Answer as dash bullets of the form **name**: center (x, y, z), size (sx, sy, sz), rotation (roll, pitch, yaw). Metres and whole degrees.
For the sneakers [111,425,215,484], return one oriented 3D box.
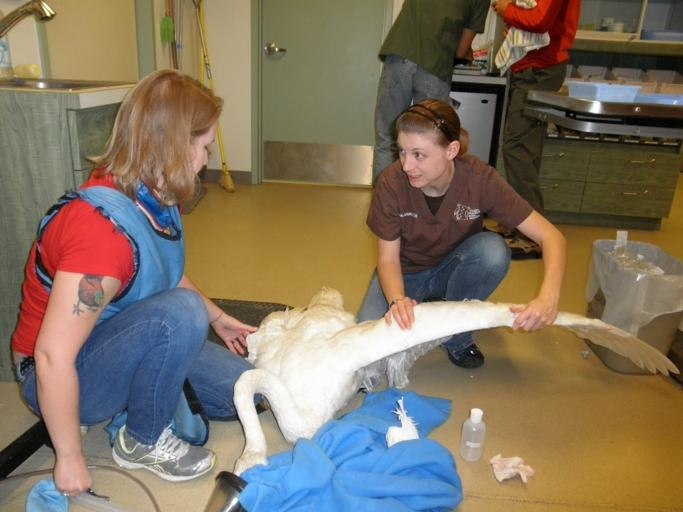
- **sneakers**: center (-0.582, 0.674, 1.964), size (0.379, 0.183, 0.151), rotation (12, 34, -5)

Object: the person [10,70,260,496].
- **person**: center (-0.642, 0.095, 1.789), size (0.719, 1.311, 0.437), rotation (-15, 27, -42)
